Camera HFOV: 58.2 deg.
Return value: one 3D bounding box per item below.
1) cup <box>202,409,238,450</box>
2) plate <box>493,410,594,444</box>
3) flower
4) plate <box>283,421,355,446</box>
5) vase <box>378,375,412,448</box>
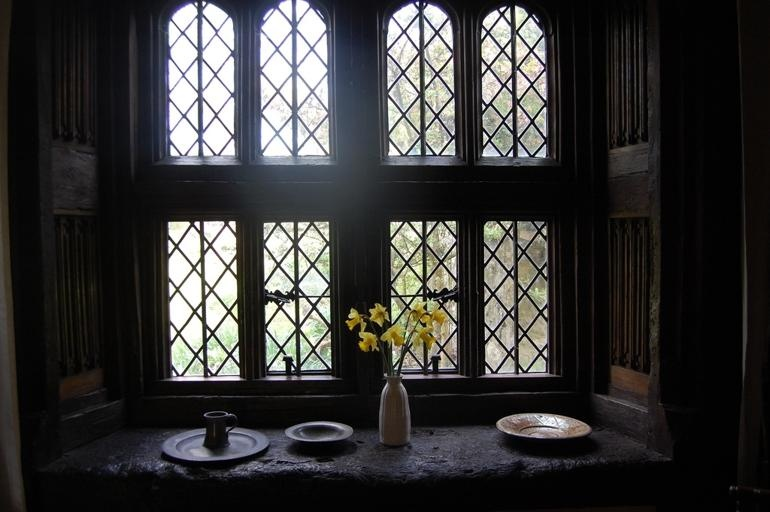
[{"bbox_3d":[-0.897,0.957,3.801,0.190,0.178,0.125,-2,0,-7],"label":"cup"},{"bbox_3d":[0.881,0.971,3.890,0.503,0.081,0.307,-1,5,8],"label":"plate"},{"bbox_3d":[0.057,0.488,4.021,0.607,0.464,0.484,-1,4,4],"label":"flower"},{"bbox_3d":[-0.366,1.003,3.892,0.344,0.086,0.328,1,5,31],"label":"plate"},{"bbox_3d":[0.052,0.864,3.883,0.172,0.379,0.109,-1,4,0],"label":"vase"}]
